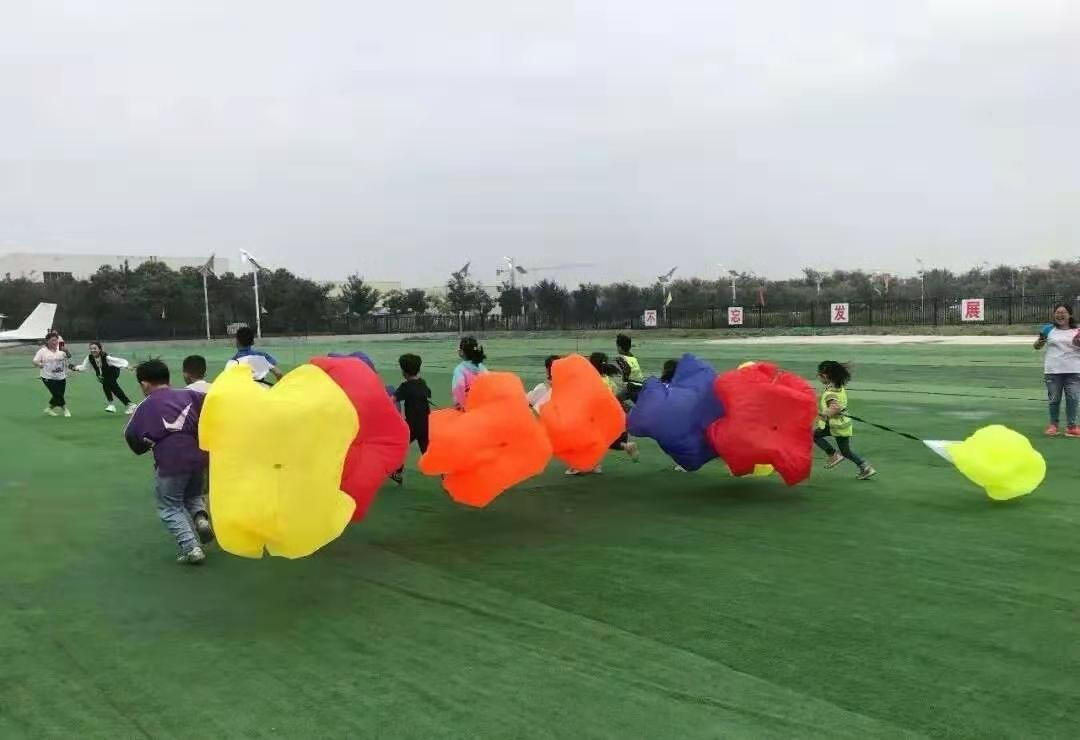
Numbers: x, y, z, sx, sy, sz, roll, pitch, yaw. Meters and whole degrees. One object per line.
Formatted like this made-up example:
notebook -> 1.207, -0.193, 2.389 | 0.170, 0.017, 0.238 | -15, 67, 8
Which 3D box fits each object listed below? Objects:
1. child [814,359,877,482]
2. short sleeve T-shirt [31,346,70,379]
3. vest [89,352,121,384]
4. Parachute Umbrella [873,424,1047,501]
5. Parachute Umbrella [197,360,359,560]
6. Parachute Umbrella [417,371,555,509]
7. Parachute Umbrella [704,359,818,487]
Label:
child -> 4.352, 0.758, 10.754 | 0.963, 1.747, 0.825 | 11, 34, 38
short sleeve T-shirt -> -9.392, -0.119, 14.583 | 0.501, 0.628, 0.445 | -8, 15, -26
vest -> -8.675, -0.078, 15.080 | 0.419, 0.604, 0.553 | -8, 15, -26
Parachute Umbrella -> 4.948, 1.020, 8.328 | 0.998, 0.679, 0.595 | 7, 15, 30
Parachute Umbrella -> -2.210, 0.815, 6.495 | 1.258, 1.486, 0.617 | -7, 14, -22
Parachute Umbrella -> -0.570, 0.734, 7.766 | 1.351, 1.376, 0.459 | -25, -5, -20
Parachute Umbrella -> 2.521, 0.667, 8.599 | 1.158, 1.236, 0.701 | 3, 14, 17
